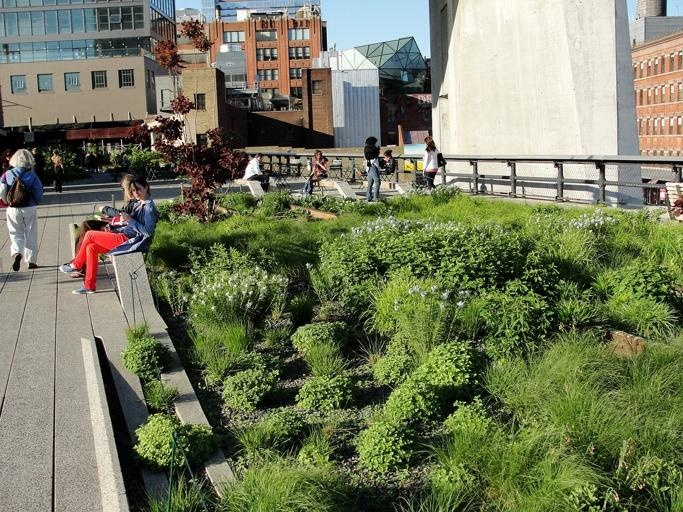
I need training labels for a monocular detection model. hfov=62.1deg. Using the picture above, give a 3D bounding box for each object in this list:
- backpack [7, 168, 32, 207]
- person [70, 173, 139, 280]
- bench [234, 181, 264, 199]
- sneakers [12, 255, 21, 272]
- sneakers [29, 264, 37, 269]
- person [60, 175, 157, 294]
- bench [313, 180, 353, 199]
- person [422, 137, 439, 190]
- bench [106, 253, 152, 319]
[{"bbox_3d":[-5.252,-1.059,9.219,0.338,0.542,0.171,-6,7,-22],"label":"backpack"},{"bbox_3d":[-3.540,-0.363,8.656,0.890,1.759,0.562,13,17,-1],"label":"person"},{"bbox_3d":[-3.089,-2.293,19.080,0.658,0.531,9.031,-5,8,-9],"label":"bench"},{"bbox_3d":[-5.159,0.117,9.063,0.119,0.321,0.122,6,12,-38],"label":"sneakers"},{"bbox_3d":[-4.988,0.169,9.179,0.111,0.073,0.069,-4,3,-34],"label":"sneakers"},{"bbox_3d":[-3.325,-0.322,8.082,1.204,1.718,0.751,6,2,-22],"label":"person"},{"bbox_3d":[-0.165,-2.303,19.206,0.560,0.579,3.600,-2,8,-15],"label":"bench"},{"bbox_3d":[2.654,-2.811,16.872,0.476,1.531,1.373,-2,7,9],"label":"person"},{"bbox_3d":[-2.584,0.359,7.047,0.432,0.729,0.737,-6,7,-23],"label":"bench"}]
